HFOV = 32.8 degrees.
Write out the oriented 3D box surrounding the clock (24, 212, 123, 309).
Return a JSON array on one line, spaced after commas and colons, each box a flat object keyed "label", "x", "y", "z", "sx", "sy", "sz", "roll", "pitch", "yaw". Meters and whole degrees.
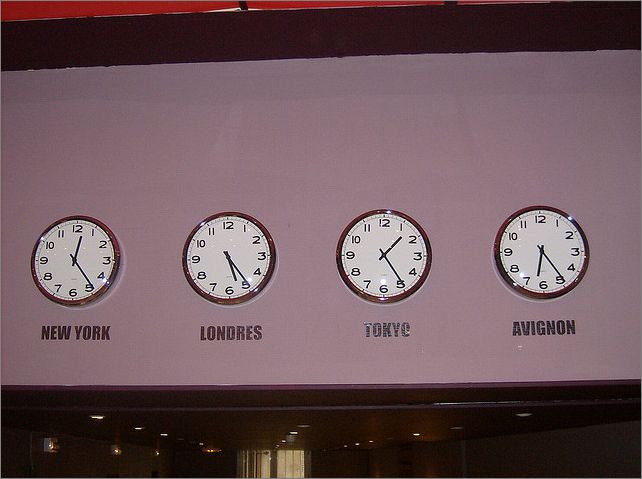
[{"label": "clock", "x": -2.594, "y": 0.226, "z": 11.469, "sx": 0.988, "sy": 0.940, "sz": 0.109, "roll": 2, "pitch": 4, "yaw": -41}]
